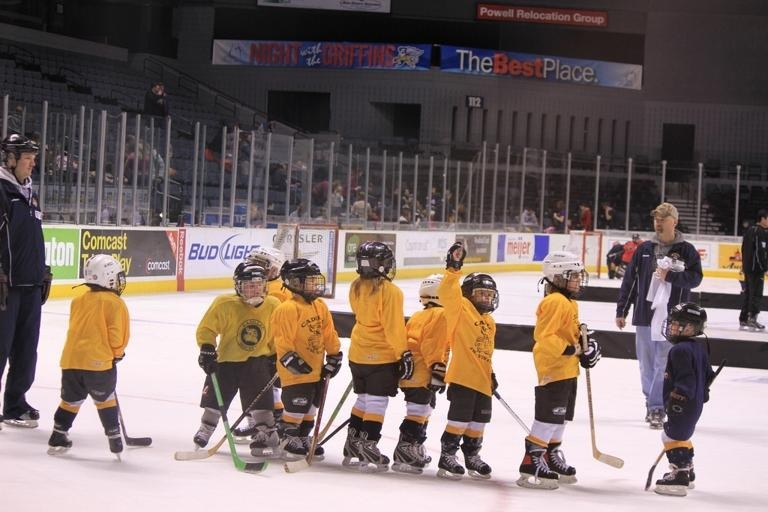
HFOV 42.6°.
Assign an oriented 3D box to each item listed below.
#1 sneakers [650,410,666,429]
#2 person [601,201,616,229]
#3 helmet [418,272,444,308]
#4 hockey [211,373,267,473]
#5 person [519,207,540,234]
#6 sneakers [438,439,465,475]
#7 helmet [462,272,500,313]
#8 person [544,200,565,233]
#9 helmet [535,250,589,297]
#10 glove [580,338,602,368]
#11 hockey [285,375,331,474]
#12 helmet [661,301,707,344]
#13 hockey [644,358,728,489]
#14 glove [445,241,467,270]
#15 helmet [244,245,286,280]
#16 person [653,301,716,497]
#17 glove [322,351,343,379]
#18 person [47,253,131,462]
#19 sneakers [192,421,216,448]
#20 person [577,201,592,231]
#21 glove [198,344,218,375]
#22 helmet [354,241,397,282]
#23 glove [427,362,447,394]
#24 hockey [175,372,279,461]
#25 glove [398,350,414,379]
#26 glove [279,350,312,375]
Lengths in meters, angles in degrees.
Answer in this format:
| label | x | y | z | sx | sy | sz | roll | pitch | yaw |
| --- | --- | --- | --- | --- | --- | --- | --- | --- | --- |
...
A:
| label | x | y | z | sx | sy | sz | roll | pitch | yaw |
| --- | --- | --- | --- | --- | --- | --- | --- | --- | --- |
| sneakers | 3.314 | 1.983 | 11.974 | 0.136 | 0.172 | 0.405 | -2 | -10 | 12 |
| person | 6.579 | -1.183 | 29.053 | 0.376 | 0.805 | 0.491 | 4 | 12 | 12 |
| helmet | 0.545 | 0.393 | 10.989 | 0.333 | 0.298 | 0.263 | -7 | 5 | -19 |
| hockey | -1.628 | 1.892 | 10.578 | 0.308 | 0.261 | 1.874 | 15 | 24 | -33 |
| person | 4.219 | -1.075 | 28.926 | 0.682 | 1.146 | 0.656 | 1 | 12 | 9 |
| sneakers | 0.719 | 2.166 | 10.579 | 0.295 | 0.366 | 0.192 | 3 | 12 | 4 |
| helmet | 1.039 | 0.400 | 10.796 | 0.428 | 0.415 | 0.372 | 8 | 0 | 39 |
| person | 5.023 | -1.143 | 29.207 | 0.663 | 0.971 | 0.666 | 3 | 2 | -44 |
| helmet | 1.942 | 0.194 | 10.753 | 0.524 | 0.490 | 0.408 | -2 | 3 | 9 |
| glove | 2.267 | 1.055 | 10.655 | 0.118 | 0.296 | 0.218 | 18 | 32 | -26 |
| hockey | -0.837 | 1.832 | 10.736 | 0.269 | 1.086 | 0.094 | 3 | -33 | 11 |
| helmet | 3.242 | 0.717 | 10.650 | 0.440 | 0.465 | 0.374 | 0 | -3 | 14 |
| hockey | 3.329 | 1.896 | 11.004 | 0.152 | 1.515 | 0.167 | 21 | 25 | 0 |
| glove | 0.771 | -0.012 | 10.750 | 0.200 | 0.294 | 0.114 | 13 | -4 | 1 |
| helmet | -1.337 | 0.095 | 11.361 | 0.356 | 0.368 | 0.413 | 16 | -16 | 41 |
| person | 3.231 | 1.507 | 10.553 | 0.552 | 1.887 | 0.878 | 5 | 12 | 17 |
| glove | -0.556 | 1.208 | 10.923 | 0.202 | 0.287 | 0.122 | 8 | -7 | 40 |
| person | -3.202 | 1.071 | 10.657 | 0.857 | 2.055 | 0.838 | -2 | 12 | -19 |
| sneakers | -2.006 | 1.956 | 10.907 | 0.136 | 0.402 | 0.159 | 22 | 2 | 3 |
| person | 5.905 | -1.144 | 28.953 | 0.441 | 0.798 | 0.601 | 4 | 12 | 11 |
| glove | -1.923 | 1.104 | 10.713 | 0.192 | 0.337 | 0.212 | 0 | 12 | -10 |
| helmet | -0.096 | 0.059 | 11.010 | 0.350 | 0.425 | 0.459 | 4 | 5 | 35 |
| glove | 0.573 | 1.321 | 10.781 | 0.280 | 0.278 | 0.117 | 13 | -5 | -25 |
| hockey | -1.728 | 1.813 | 10.995 | 0.240 | 0.258 | 1.750 | 2 | 26 | 32 |
| glove | 0.231 | 1.169 | 10.610 | 0.115 | 0.317 | 0.141 | 4 | -5 | -1 |
| glove | -0.975 | 1.156 | 10.677 | 0.303 | 0.213 | 0.072 | 43 | 12 | -11 |
